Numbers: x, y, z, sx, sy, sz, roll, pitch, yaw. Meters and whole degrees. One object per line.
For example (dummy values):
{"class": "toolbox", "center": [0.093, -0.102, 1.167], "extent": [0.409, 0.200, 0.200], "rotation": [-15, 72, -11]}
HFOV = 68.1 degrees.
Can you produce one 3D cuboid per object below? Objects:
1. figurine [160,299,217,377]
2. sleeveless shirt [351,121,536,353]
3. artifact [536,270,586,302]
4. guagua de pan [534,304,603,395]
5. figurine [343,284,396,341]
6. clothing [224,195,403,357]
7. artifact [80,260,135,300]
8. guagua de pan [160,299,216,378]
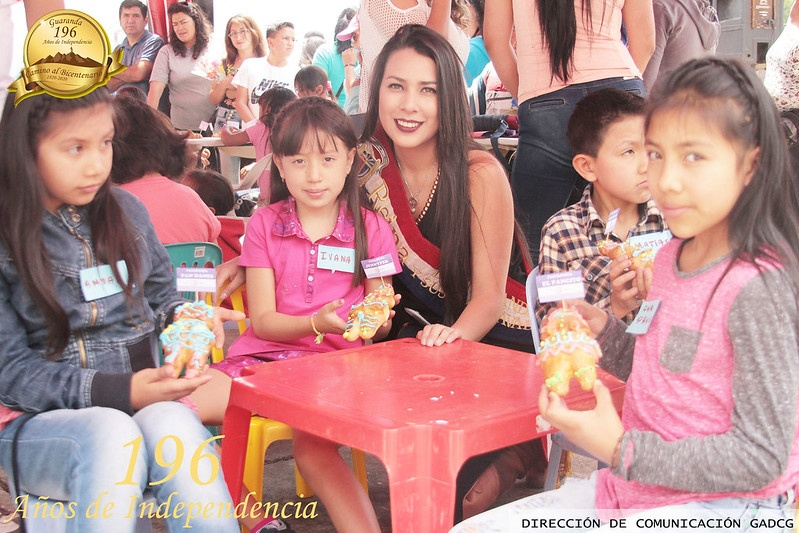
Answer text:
{"class": "figurine", "center": [-0.639, 0.238, 1.797], "extent": [0.149, 0.231, 0.226], "rotation": [-5, 8, -9]}
{"class": "sleeveless shirt", "center": [0.107, -0.130, 2.595], "extent": [0.969, 0.886, 0.338], "rotation": [7, -5, -15]}
{"class": "artifact", "center": [0.481, 0.060, 1.705], "extent": [0.110, 0.108, 0.189], "rotation": [3, 10, 36]}
{"class": "guagua de pan", "center": [0.423, 0.223, 1.466], "extent": [0.136, 0.221, 0.088], "rotation": [-11, -27, 19]}
{"class": "figurine", "center": [-0.089, 0.182, 2.169], "extent": [0.127, 0.068, 0.245], "rotation": [-10, 34, 39]}
{"class": "clothing", "center": [-0.397, 0.019, 2.661], "extent": [0.975, 0.937, 0.559], "rotation": [1, 3, 0]}
{"class": "artifact", "center": [-0.930, 0.042, 1.866], "extent": [0.017, 0.073, 0.118], "rotation": [-14, 2, 38]}
{"class": "guagua de pan", "center": [-0.628, 0.197, 1.772], "extent": [0.146, 0.070, 0.239], "rotation": [16, 38, -12]}
